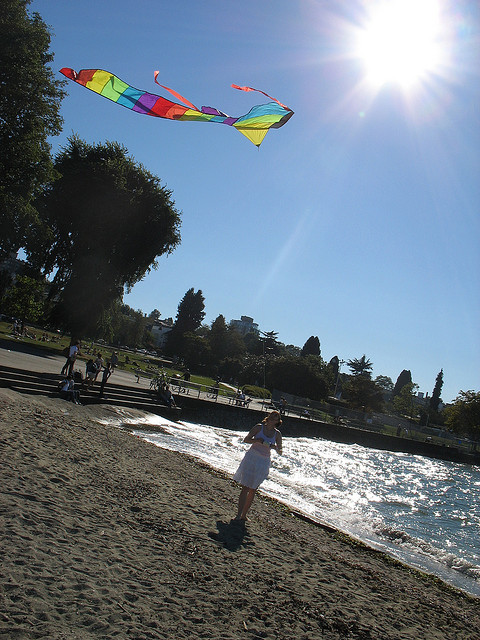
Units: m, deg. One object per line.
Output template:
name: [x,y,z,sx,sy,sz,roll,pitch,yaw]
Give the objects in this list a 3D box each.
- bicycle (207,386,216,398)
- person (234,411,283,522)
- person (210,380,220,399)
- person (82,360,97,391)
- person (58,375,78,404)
bicycle: [-1.690,4.765,31.725,0.166,0.692,0.700,2,8,-26]
person: [0.252,2.164,7.218,0.566,1.178,0.873,15,-7,3]
person: [-1.871,5.288,37.175,0.980,0.780,2.768,29,-11,4]
person: [-5.898,2.190,19.143,0.430,1.107,1.468,17,-7,-15]
person: [-5.842,2.347,16.579,0.736,0.866,0.487,21,-10,-39]
